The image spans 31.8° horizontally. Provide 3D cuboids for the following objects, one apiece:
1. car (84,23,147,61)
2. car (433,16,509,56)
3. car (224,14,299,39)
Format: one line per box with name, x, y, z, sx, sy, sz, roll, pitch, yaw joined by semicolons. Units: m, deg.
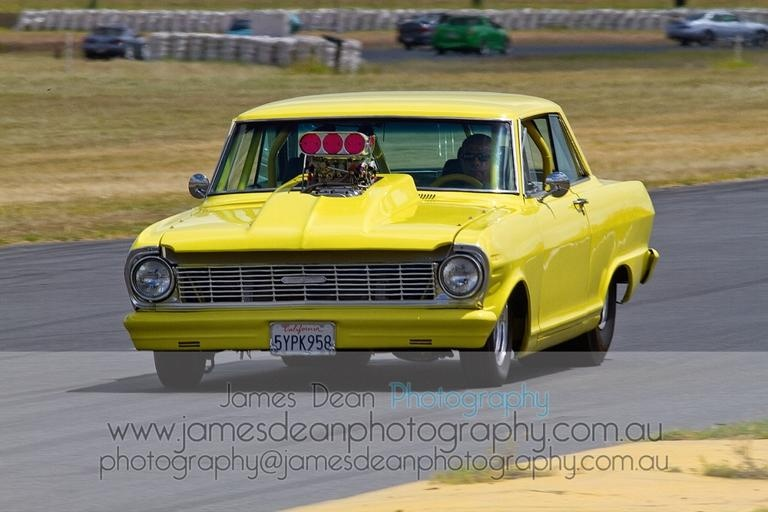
car;-9.590;-7.439;47.456;1.638;0.730;2.857;0;7;9
car;3.211;-8.243;50.864;1.965;0.879;2.818;5;11;30
car;-5.417;-9.367;55.768;3.750;0.712;2.876;-2;6;3
